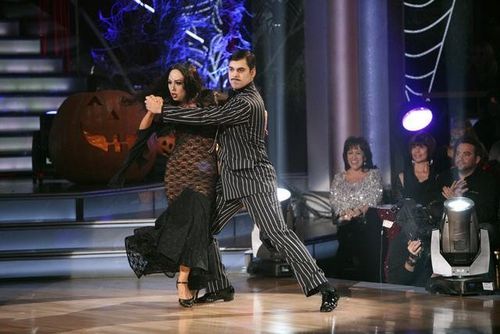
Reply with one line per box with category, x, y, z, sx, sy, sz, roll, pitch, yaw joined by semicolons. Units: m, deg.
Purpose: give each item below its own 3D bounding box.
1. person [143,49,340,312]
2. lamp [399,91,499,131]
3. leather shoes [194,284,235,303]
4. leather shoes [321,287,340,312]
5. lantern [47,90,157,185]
person;-0.009;0.116;4.319;1.489;2.126;0.385;2;12;17
lamp;2.078;-0.605;5.773;0.760;0.511;0.255;5;-10;6
leather shoes;-0.280;1.103;4.570;0.394;0.143;0.124;0;-5;-16
leather shoes;0.643;1.059;4.247;0.142;0.210;0.182;0;11;10
lantern;-1.805;-0.260;6.383;1.315;1.054;1.190;-1;-2;-34
